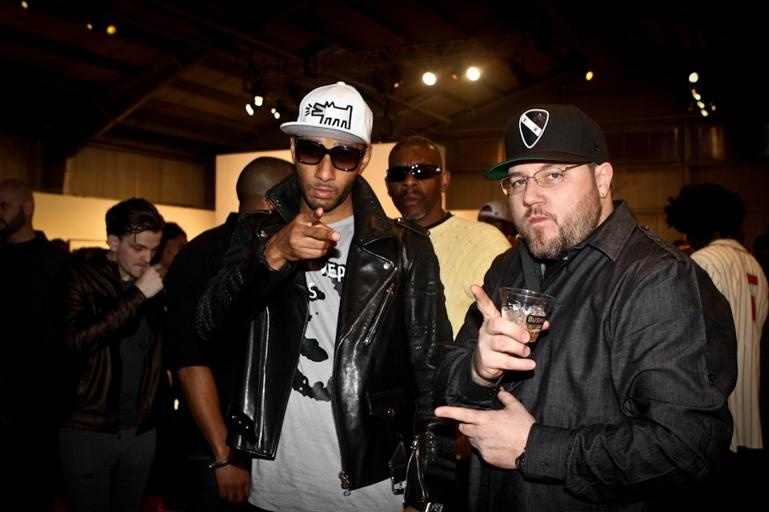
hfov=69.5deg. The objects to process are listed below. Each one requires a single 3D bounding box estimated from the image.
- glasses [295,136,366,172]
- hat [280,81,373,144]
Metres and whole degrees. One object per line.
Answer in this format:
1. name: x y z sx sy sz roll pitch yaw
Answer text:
1. glasses: -0.337 -0.602 3.307 0.413 0.189 0.091 3 -2 -6
2. hat: -0.337 -0.840 3.315 0.340 0.272 0.488 18 7 28
